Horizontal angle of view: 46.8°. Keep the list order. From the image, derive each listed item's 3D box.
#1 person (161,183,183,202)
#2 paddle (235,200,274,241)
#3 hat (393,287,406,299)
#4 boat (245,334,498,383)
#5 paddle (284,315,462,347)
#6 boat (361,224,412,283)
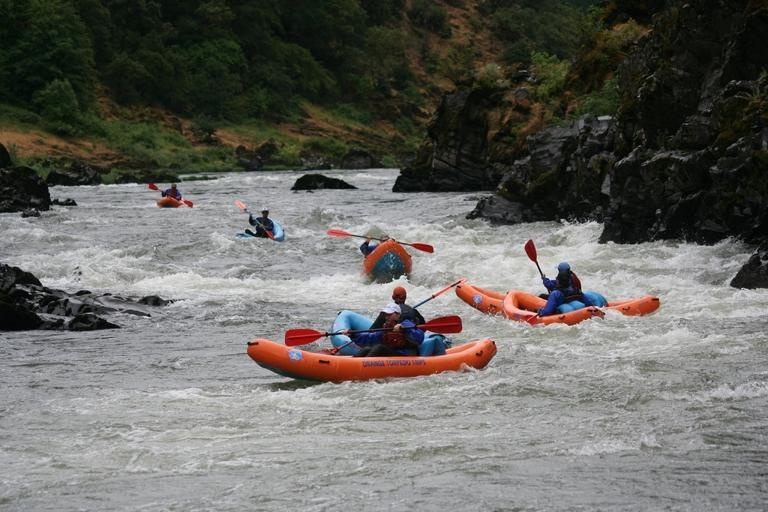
[{"bbox_3d":[-8.385,-2.522,34.745,1.250,0.541,1.573,0,-5,-6],"label":"person"},{"bbox_3d":[-3.850,-1.035,26.487,0.892,0.804,1.482,10,2,30],"label":"paddle"},{"bbox_3d":[0.285,0.687,16.727,0.281,0.164,0.222,5,22,2],"label":"hat"},{"bbox_3d":[-0.289,1.780,15.952,3.636,0.477,1.330,-1,-4,-4],"label":"boat"},{"bbox_3d":[-0.921,1.413,16.777,4.449,0.491,0.283,0,1,2],"label":"paddle"},{"bbox_3d":[0.150,0.109,22.319,1.182,0.974,0.902,4,23,-11],"label":"boat"}]
